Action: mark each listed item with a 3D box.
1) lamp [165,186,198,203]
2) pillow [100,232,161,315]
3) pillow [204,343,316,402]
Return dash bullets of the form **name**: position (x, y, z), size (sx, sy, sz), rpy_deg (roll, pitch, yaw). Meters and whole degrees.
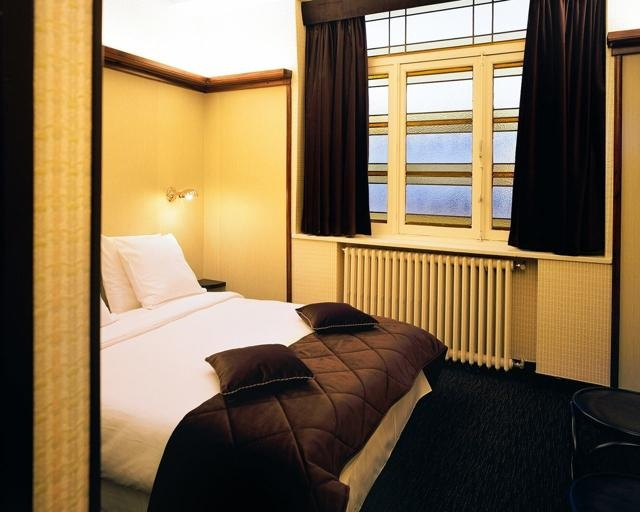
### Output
- **lamp**: position (-1.212, -0.515, 4.412), size (0.192, 0.124, 0.119), rpy_deg (3, 4, 27)
- **pillow**: position (-1.240, 0.112, 3.333), size (0.136, 0.562, 0.515), rpy_deg (-14, -12, 34)
- **pillow**: position (-0.283, 0.492, 2.341), size (0.424, 0.112, 0.378), rpy_deg (-6, 16, -22)
